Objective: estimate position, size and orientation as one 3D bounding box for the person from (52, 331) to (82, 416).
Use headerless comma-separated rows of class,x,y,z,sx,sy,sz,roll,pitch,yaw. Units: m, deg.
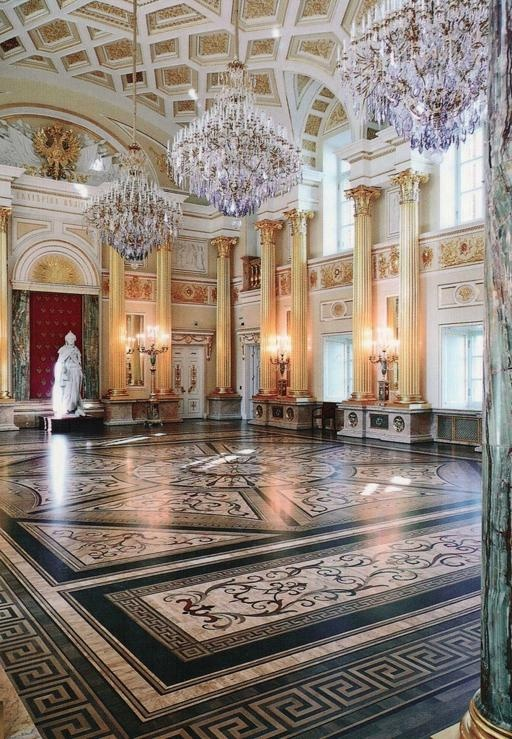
person,-4.386,0.131,11.728,0.618,1.945,1.009,1,-2,-20
